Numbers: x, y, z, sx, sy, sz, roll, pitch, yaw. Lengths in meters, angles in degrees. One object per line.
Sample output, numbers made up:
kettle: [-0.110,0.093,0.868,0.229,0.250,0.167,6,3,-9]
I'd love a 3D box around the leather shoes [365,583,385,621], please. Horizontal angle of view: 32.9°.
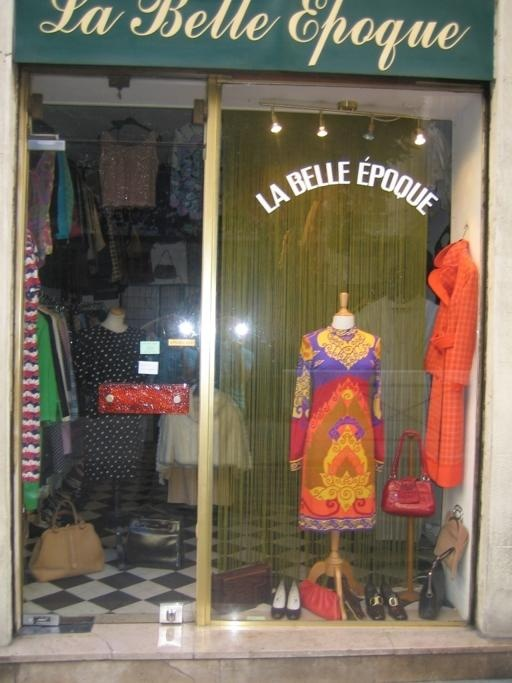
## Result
leather shoes: [0.498,1.096,3.651,0.080,0.120,0.142,1,-1,6]

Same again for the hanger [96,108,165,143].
hanger: [-0.517,-0.900,3.653,0.237,0.108,0.012,1,-1,1]

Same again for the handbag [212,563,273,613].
handbag: [-0.059,1.030,3.611,0.242,0.181,0.046,1,-1,-9]

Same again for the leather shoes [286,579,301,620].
leather shoes: [0.161,1.080,3.608,0.044,0.121,0.043,0,-37,1]

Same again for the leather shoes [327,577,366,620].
leather shoes: [0.400,1.097,3.666,0.096,0.233,0.078,-30,-13,-14]

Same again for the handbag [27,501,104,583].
handbag: [-0.813,0.849,3.728,0.341,0.310,0.141,-4,3,-31]

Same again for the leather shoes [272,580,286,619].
leather shoes: [0.098,1.082,3.603,0.045,0.129,0.050,2,-42,7]

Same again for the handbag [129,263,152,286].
handbag: [-0.493,-0.282,3.626,0.091,0.086,0.054,-1,-7,3]

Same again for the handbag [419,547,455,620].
handbag: [0.769,1.038,3.683,0.079,0.223,0.252,7,-10,13]
